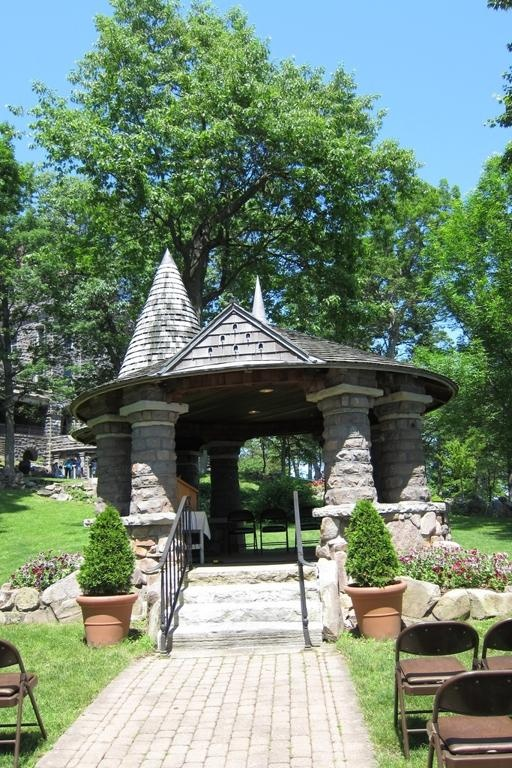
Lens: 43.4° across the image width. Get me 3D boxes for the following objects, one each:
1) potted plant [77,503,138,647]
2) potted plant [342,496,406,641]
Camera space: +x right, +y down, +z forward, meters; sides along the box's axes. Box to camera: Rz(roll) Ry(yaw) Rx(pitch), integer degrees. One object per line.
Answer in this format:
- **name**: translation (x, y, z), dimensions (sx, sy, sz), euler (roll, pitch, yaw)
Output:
- **potted plant**: translation (-1.736, 2.233, 7.525), dimensions (0.670, 1.544, 0.600), euler (0, -3, -16)
- **potted plant**: translation (1.301, 2.044, 7.116), dimensions (0.649, 1.410, 0.674), euler (-1, -3, 5)
